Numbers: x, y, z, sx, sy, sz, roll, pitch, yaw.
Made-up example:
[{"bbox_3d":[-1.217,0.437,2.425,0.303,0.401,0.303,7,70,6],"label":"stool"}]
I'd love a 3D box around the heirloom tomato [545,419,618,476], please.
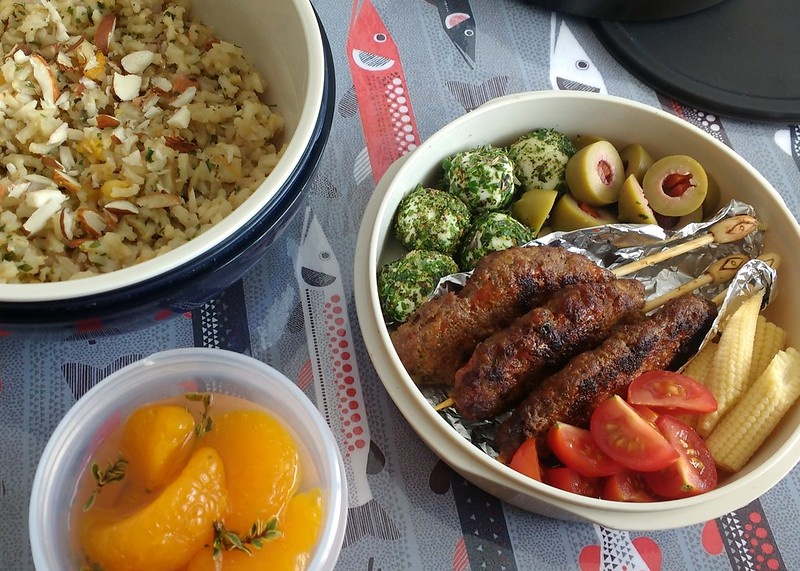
[{"bbox_3d":[0.403,0.348,1.514,0.162,0.134,0.061,31,49,-8],"label":"heirloom tomato"}]

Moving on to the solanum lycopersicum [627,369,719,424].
[{"bbox_3d":[0.596,0.228,1.538,0.167,0.057,0.103,1,95,-5],"label":"solanum lycopersicum"}]

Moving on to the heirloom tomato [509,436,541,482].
[{"bbox_3d":[0.270,0.372,1.504,0.035,0.077,0.086,3,76,7],"label":"heirloom tomato"}]

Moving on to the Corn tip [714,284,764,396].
[{"bbox_3d":[0.779,0.139,1.610,0.070,0.068,0.297,32,72,-12],"label":"Corn tip"}]

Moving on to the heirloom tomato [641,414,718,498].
[{"bbox_3d":[0.619,0.382,1.528,0.129,0.048,0.188,-1,66,-6],"label":"heirloom tomato"}]

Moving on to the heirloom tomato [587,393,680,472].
[{"bbox_3d":[0.499,0.333,1.498,0.194,0.068,0.109,41,73,8],"label":"heirloom tomato"}]
